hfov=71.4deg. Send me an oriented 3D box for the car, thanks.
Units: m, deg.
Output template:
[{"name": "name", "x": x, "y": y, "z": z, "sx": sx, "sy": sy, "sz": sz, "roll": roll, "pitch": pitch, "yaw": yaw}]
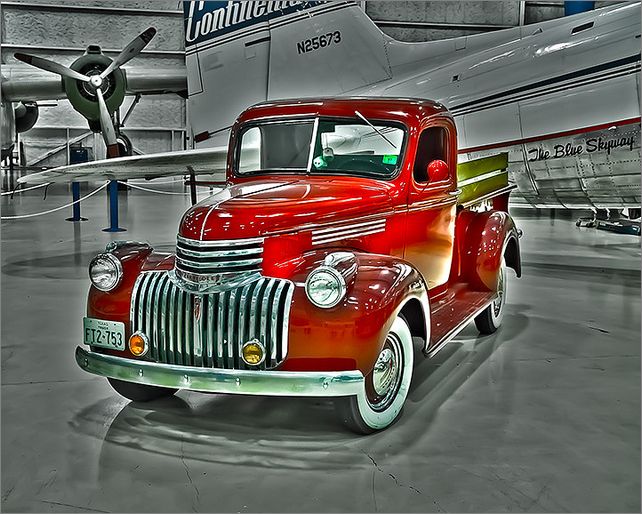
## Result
[{"name": "car", "x": -0.032, "y": -0.133, "z": 3.389, "sx": 1.824, "sy": 2.324, "sz": 2.741, "roll": 5, "pitch": 8, "yaw": 37}]
